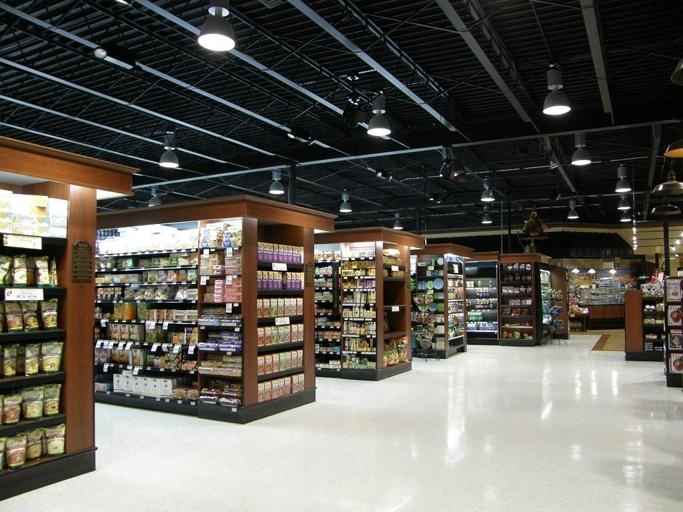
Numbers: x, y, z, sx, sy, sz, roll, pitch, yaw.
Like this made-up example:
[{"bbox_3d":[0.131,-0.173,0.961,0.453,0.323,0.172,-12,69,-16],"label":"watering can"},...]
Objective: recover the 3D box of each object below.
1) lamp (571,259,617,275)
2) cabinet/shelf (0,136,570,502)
[{"bbox_3d":[12.336,0.470,25.717,2.525,0.732,0.597,1,-3,-17],"label":"lamp"},{"bbox_3d":[-2.410,0.772,8.146,2.707,3.732,6.100,-1,-3,32],"label":"cabinet/shelf"}]
